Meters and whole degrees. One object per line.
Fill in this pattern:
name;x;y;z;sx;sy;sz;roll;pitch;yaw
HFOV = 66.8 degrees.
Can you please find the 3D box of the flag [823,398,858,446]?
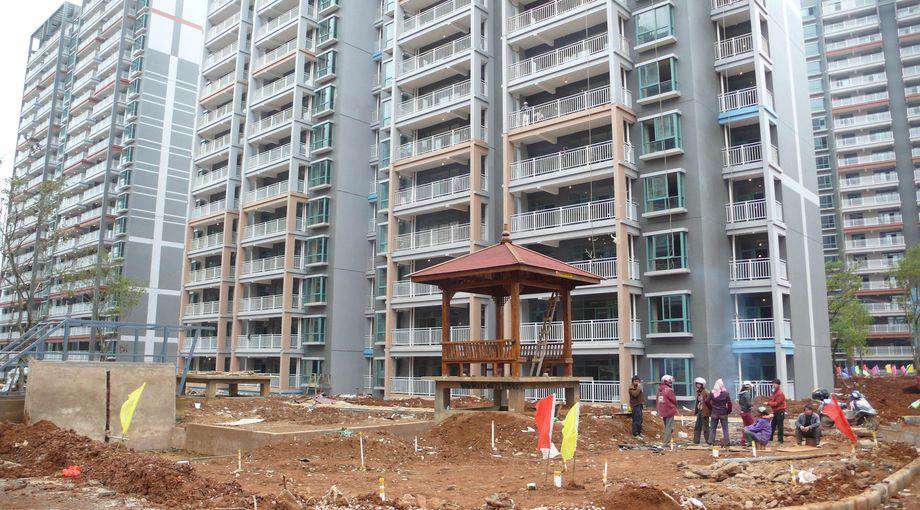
flag;20.571;8.969;37.858;0.692;2.480;1.533;0;-15;-3
